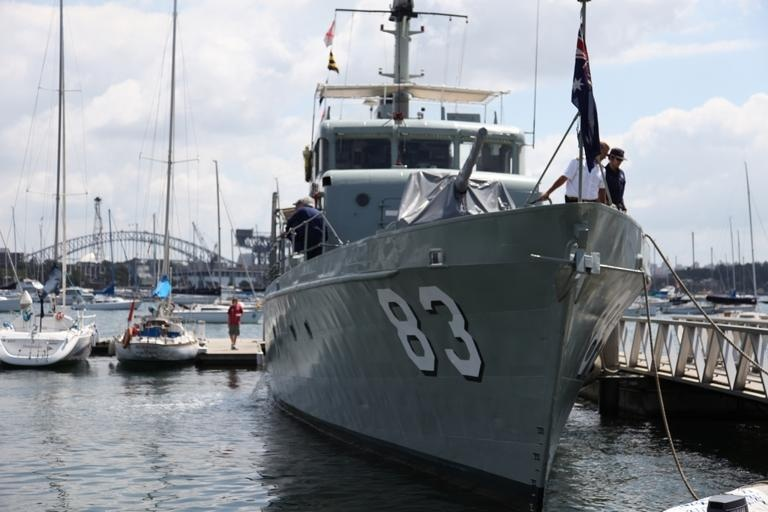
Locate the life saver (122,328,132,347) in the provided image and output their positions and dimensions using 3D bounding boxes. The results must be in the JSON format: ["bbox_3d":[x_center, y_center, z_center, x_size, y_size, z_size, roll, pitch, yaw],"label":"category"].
[{"bbox_3d":[-6.731,2.141,30.993,0.112,0.421,0.317,6,-1,19],"label":"life saver"}]

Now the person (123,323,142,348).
[{"bbox_3d":[-6.634,2.113,31.357,0.456,0.526,1.590,3,-5,-10],"label":"person"}]

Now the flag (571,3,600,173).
[{"bbox_3d":[3.237,-2.649,18.913,0.346,2.459,0.477,0,-1,29],"label":"flag"}]
